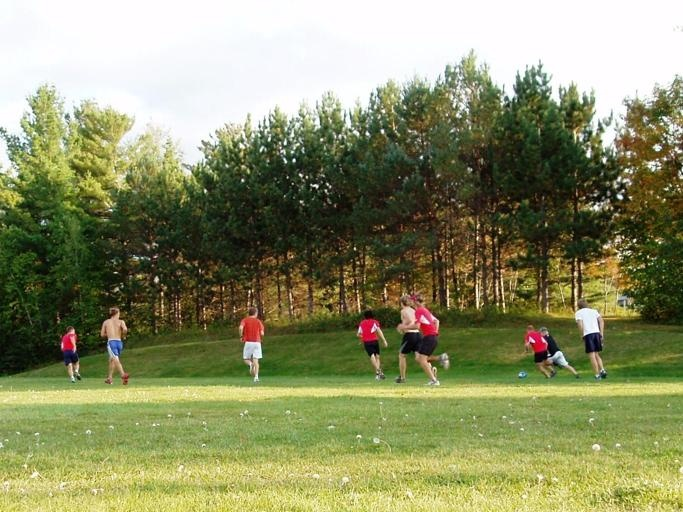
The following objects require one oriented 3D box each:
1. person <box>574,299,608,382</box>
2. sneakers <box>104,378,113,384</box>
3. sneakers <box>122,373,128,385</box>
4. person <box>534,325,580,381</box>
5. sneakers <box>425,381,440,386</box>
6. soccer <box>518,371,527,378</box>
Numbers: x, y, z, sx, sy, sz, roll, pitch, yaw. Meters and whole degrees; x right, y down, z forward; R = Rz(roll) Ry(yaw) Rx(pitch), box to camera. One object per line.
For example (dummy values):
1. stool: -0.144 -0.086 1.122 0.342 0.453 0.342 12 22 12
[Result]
1. person: 10.114 3.378 33.865 1.134 3.372 1.023 -3 7 -20
2. sneakers: -9.835 5.279 35.427 0.210 0.301 0.625 3 -5 -16
3. sneakers: -9.159 5.194 35.368 0.230 0.674 0.222 10 11 42
4. person: 9.172 4.170 35.898 1.418 2.640 1.010 -19 -21 31
5. sneakers: 3.519 4.915 32.471 0.505 0.271 0.191 3 -5 13
6. soccer: 7.720 5.068 35.705 0.357 0.455 0.507 4 -3 7
